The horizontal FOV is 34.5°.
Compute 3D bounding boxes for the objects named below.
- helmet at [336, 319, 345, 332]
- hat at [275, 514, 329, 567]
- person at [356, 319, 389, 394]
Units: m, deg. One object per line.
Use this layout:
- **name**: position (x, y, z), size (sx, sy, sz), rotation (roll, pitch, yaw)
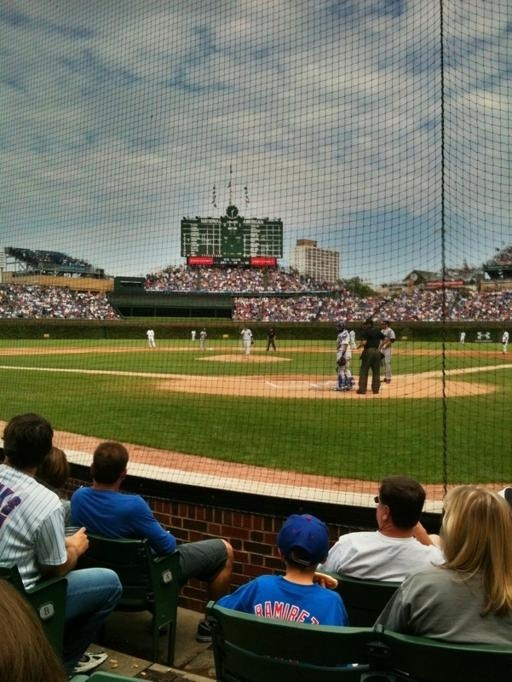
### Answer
- **helmet**: position (1.250, -0.234, 12.170), size (0.158, 0.203, 0.206), rotation (-2, -35, 1)
- **hat**: position (0.195, 0.804, 3.365), size (0.163, 0.089, 0.226), rotation (6, 12, 7)
- **person**: position (1.841, 0.251, 13.292), size (0.423, 1.225, 1.382), rotation (0, 3, 9)
